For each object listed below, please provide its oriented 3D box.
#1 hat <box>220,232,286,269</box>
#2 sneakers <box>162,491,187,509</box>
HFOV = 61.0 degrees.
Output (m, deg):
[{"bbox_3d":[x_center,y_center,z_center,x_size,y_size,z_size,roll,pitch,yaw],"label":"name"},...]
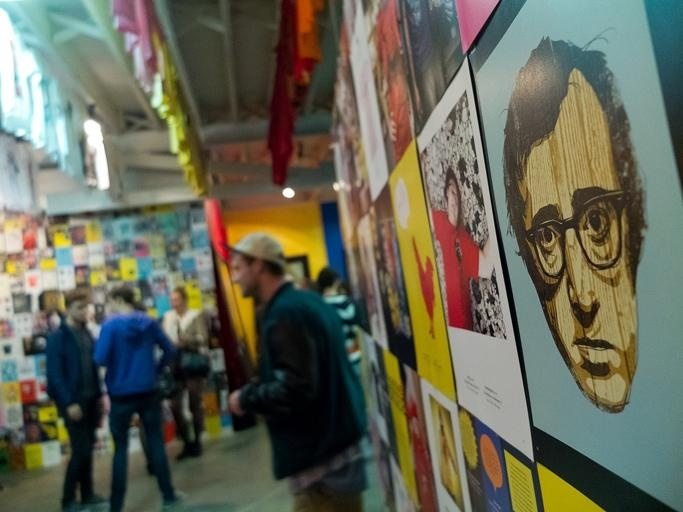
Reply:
[{"bbox_3d":[-0.320,-0.002,2.230,0.170,0.079,0.125,24,-9,-21],"label":"hat"},{"bbox_3d":[-0.821,1.203,2.886,0.125,0.060,0.045,-20,21,-19],"label":"sneakers"}]
